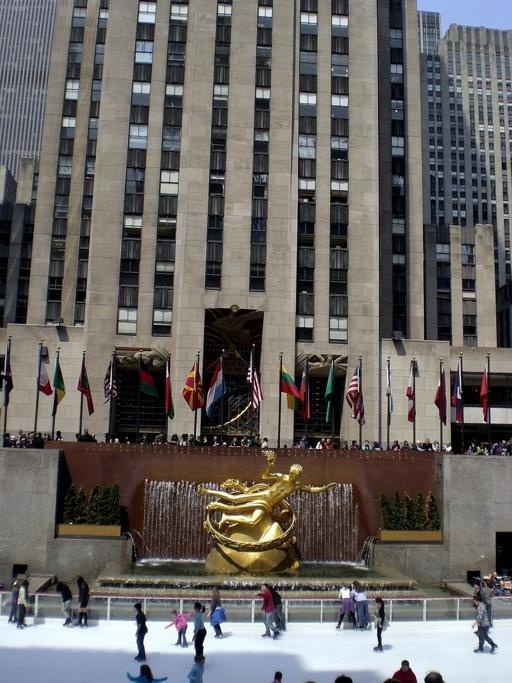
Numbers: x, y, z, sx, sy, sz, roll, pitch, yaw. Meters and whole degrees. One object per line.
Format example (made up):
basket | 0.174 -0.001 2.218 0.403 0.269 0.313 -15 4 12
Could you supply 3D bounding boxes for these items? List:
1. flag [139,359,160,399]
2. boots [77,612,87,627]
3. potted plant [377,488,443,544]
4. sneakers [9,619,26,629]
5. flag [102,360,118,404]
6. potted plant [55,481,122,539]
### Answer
flag | -5.532 1.938 50.137 0.189 2.153 2.557 -15 62 21
boots | -5.275 8.523 29.438 0.258 0.414 0.449 1 68 2
potted plant | 6.517 7.709 40.904 2.404 1.328 2.380 -3 62 18
sneakers | -7.320 8.720 29.626 0.596 0.190 0.274 2 65 39
flag | -6.707 2.027 44.617 0.487 2.483 1.812 2 48 -10
potted plant | -6.829 7.425 40.173 2.826 1.674 3.362 2 67 -1
